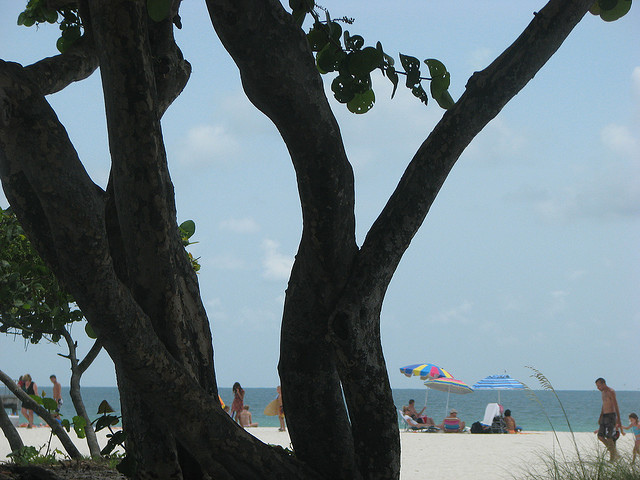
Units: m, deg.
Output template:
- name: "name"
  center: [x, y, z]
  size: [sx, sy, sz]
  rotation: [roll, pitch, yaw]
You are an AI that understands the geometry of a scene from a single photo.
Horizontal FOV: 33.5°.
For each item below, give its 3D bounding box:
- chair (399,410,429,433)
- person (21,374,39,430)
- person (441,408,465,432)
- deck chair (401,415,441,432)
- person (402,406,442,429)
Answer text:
- name: "chair"
  center: [2.669, 4.990, 29.748]
  size: [0.605, 0.570, 0.464]
  rotation: [-3, -2, 9]
- name: "person"
  center: [-6.957, 3.780, 25.453]
  size: [0.385, 1.457, 0.429]
  rotation: [5, 18, 5]
- name: "person"
  center: [3.635, 4.950, 29.098]
  size: [0.522, 0.930, 0.468]
  rotation: [5, 0, 25]
- name: "deck chair"
  center: [2.860, 5.125, 29.752]
  size: [1.125, 0.746, 0.396]
  rotation: [-4, -1, 1]
- name: "person"
  center: [2.902, 4.956, 29.871]
  size: [1.250, 0.746, 0.550]
  rotation: [-1, 2, 2]
